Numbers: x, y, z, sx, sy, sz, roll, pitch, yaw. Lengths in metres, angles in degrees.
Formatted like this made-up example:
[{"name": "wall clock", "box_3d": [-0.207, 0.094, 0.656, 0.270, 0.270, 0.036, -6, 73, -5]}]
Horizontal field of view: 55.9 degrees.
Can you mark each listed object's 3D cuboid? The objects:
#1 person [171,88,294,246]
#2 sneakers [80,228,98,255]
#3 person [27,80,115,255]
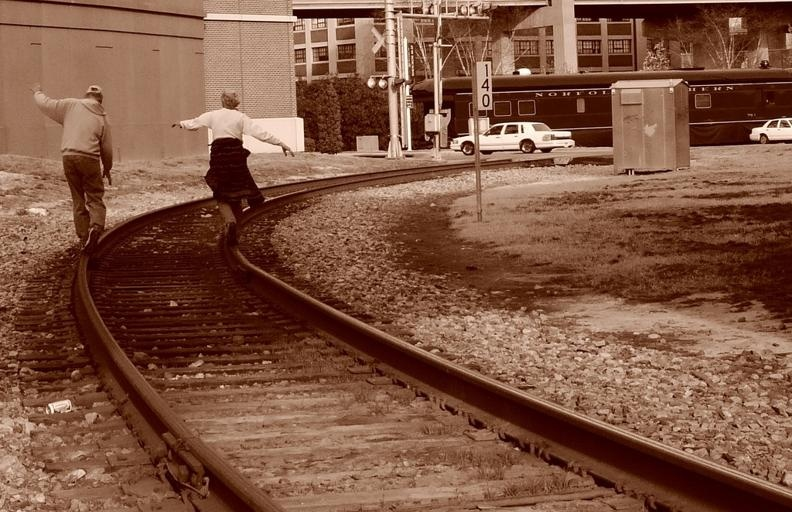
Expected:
[{"name": "person", "box_3d": [-2.529, -1.333, 11.606, 0.982, 2.429, 0.931, -7, 13, -33]}, {"name": "sneakers", "box_3d": [-4.884, -0.261, 11.944, 0.256, 0.447, 0.116, 19, -14, -5]}, {"name": "person", "box_3d": [-5.111, -1.415, 12.137, 0.962, 2.678, 1.240, -4, 11, -21]}]
